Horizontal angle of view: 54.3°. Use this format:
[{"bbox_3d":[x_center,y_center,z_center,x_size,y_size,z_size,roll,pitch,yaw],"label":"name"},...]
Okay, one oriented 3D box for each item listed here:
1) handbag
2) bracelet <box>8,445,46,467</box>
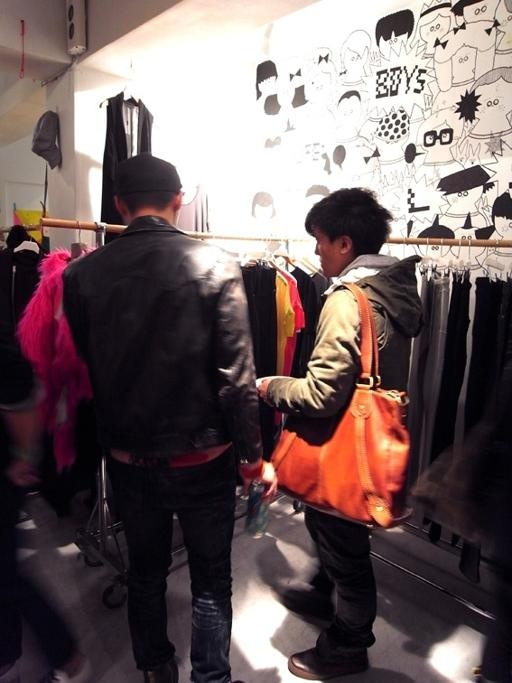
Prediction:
[{"bbox_3d":[0.210,0.155,1.323,0.390,0.607,0.104,6,9,41],"label":"handbag"},{"bbox_3d":[-0.493,0.244,1.068,0.053,0.047,0.055,2,-3,-23],"label":"bracelet"}]
